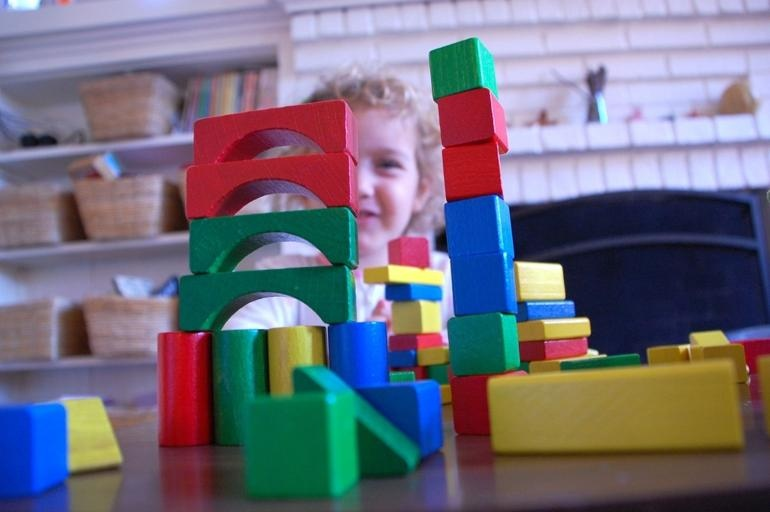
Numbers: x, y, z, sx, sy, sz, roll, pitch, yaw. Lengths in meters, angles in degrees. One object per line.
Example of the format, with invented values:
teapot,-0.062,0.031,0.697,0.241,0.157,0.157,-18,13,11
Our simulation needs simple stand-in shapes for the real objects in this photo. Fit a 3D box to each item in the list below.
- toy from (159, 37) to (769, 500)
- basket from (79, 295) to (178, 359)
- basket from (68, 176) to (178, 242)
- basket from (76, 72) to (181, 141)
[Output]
toy,0.159,-0.042,1.917,1.461,1.053,0.798,-2,-2,1
basket,-1.035,0.274,3.189,0.387,0.247,0.293,0,-3,-12
basket,-1.075,-0.173,3.174,0.253,0.182,0.349,-5,-5,24
basket,-1.055,-0.600,3.188,0.327,0.213,0.258,-11,6,-28
